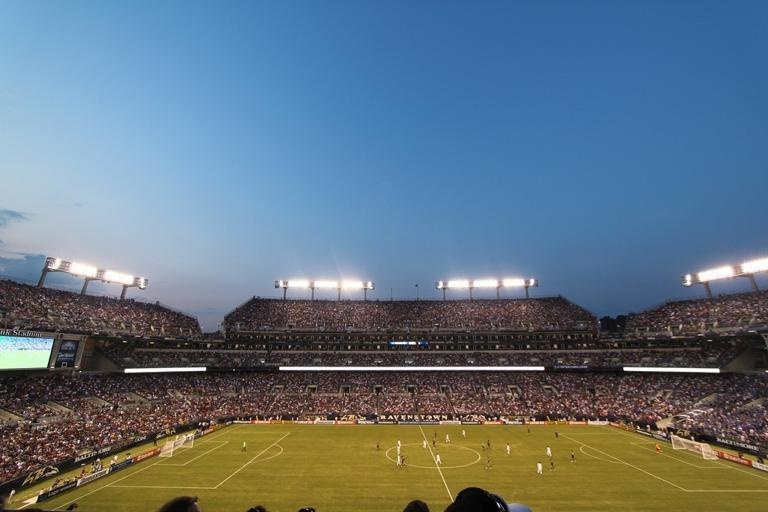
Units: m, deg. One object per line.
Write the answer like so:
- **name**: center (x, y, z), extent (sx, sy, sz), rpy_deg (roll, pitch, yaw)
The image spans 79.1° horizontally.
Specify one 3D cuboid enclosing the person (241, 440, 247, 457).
- **person**: center (-23.868, 32.868, 79.239), extent (0.940, 2.615, 1.036), rpy_deg (-22, -30, 40)
